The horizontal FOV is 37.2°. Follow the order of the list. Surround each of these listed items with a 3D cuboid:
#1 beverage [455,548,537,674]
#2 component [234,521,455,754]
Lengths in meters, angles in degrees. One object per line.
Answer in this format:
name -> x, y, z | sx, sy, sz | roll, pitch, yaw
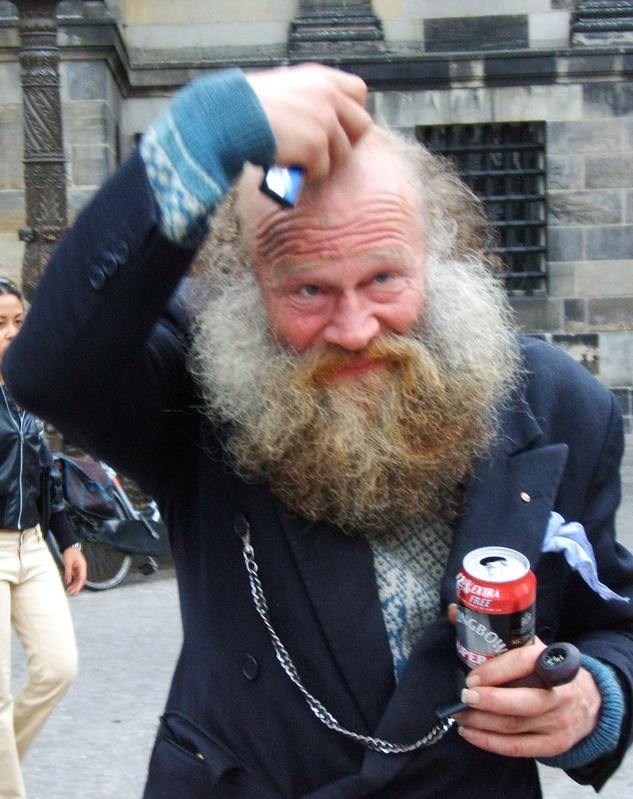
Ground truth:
beverage -> 0.292, 0.325, 1.474 | 0.143, 0.180, 0.131 | -1, 8, -3
component -> -0.024, 0.428, 1.554 | 0.084, 0.433, 0.244 | -45, 4, 13
